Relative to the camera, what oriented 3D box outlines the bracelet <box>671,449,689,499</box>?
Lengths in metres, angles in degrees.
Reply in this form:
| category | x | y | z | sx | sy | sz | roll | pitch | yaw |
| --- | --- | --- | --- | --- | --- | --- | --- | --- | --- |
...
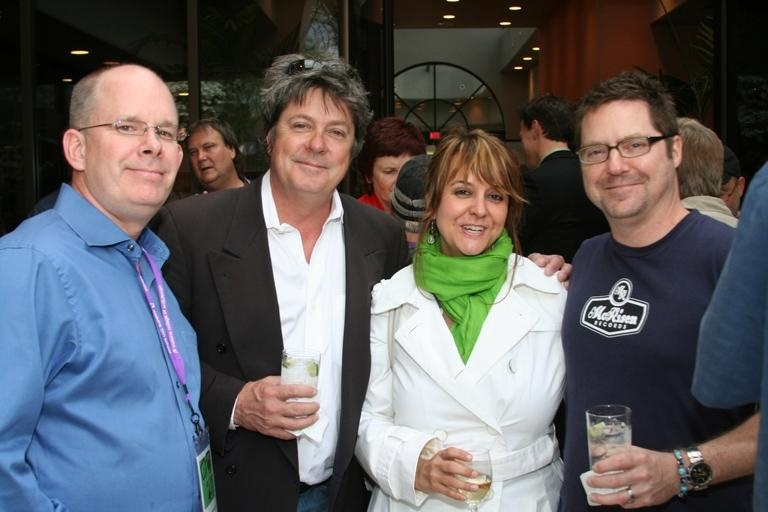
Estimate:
| category | x | y | z | sx | sy | sz | roll | pitch | yaw |
| --- | --- | --- | --- | --- | --- | --- | --- | --- | --- |
| bracelet | 1.077 | 0.770 | 2.100 | 0.055 | 0.163 | 0.045 | 4 | 8 | 29 |

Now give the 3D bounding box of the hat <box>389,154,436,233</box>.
| category | x | y | z | sx | sy | sz | roll | pitch | yaw |
| --- | --- | --- | --- | --- | --- | --- | --- | --- | --- |
| hat | 0.119 | -0.331 | 3.181 | 0.249 | 0.294 | 0.365 | 5 | 7 | -4 |

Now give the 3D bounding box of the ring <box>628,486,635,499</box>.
| category | x | y | z | sx | sy | sz | roll | pitch | yaw |
| --- | --- | --- | --- | --- | --- | --- | --- | --- | --- |
| ring | 0.872 | 0.815 | 2.043 | 0.027 | 0.044 | 0.010 | -1 | 7 | -4 |

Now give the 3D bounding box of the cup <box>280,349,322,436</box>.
| category | x | y | z | sx | sy | sz | roll | pitch | yaw |
| --- | --- | --- | --- | --- | --- | --- | --- | --- | --- |
| cup | -0.318 | 0.543 | 2.285 | 0.148 | 0.349 | 0.096 | -2 | 7 | -11 |

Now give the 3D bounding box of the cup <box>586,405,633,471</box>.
| category | x | y | z | sx | sy | sz | roll | pitch | yaw |
| --- | --- | --- | --- | --- | --- | --- | --- | --- | --- |
| cup | 0.807 | 0.631 | 2.078 | 0.146 | 0.212 | 0.112 | 3 | 8 | 20 |
